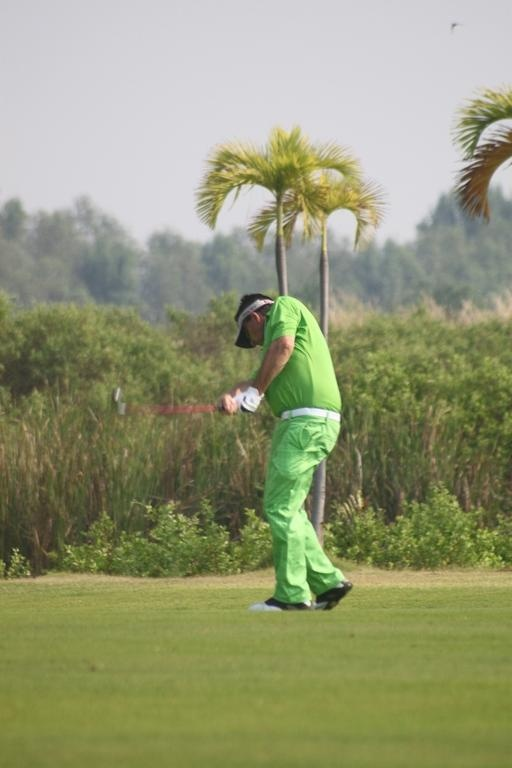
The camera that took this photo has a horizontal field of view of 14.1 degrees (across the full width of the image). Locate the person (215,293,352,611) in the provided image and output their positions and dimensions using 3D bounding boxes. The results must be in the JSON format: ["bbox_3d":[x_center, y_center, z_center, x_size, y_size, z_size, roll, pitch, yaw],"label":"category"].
[{"bbox_3d":[0.165,0.283,10.540,0.554,1.791,0.527,1,-2,-7],"label":"person"}]
